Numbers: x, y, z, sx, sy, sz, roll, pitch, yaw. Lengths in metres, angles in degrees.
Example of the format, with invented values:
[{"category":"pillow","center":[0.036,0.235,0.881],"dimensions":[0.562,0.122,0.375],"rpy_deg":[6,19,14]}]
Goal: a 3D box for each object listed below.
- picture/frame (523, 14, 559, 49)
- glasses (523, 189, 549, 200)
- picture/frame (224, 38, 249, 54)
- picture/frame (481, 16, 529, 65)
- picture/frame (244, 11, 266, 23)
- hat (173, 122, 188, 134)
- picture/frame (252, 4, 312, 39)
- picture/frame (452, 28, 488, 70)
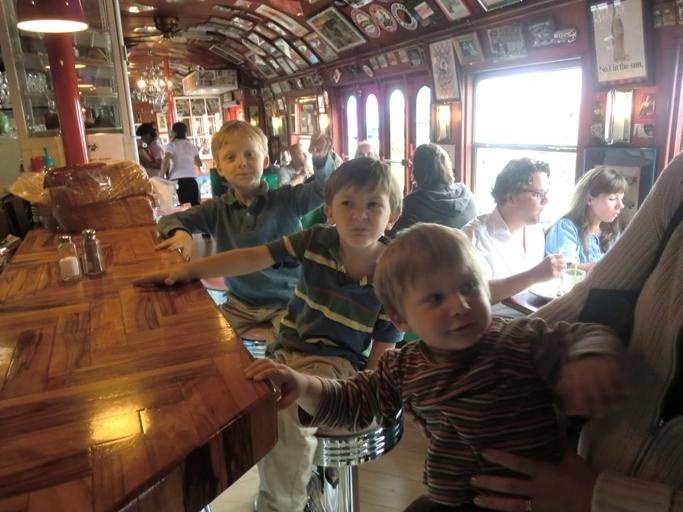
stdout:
[{"category":"picture/frame","center":[1.831,-2.024,4.429],"dimensions":[0.120,0.225,0.382],"rpy_deg":[-8,15,-12]},{"category":"glasses","center":[1.072,-0.329,2.608],"dimensions":[0.071,0.022,0.071],"rpy_deg":[-1,17,-36]},{"category":"picture/frame","center":[-2.478,-4.958,11.449],"dimensions":[0.341,0.085,0.322],"rpy_deg":[0,-2,33]},{"category":"picture/frame","center":[1.640,-2.135,4.776],"dimensions":[0.074,0.512,0.538],"rpy_deg":[-32,16,-23]},{"category":"picture/frame","center":[-1.580,-4.323,8.787],"dimensions":[0.265,0.064,0.247],"rpy_deg":[13,-14,-42]},{"category":"hat","center":[-2.347,-1.809,6.930],"dimensions":[0.180,0.207,0.204],"rpy_deg":[1,9,0]},{"category":"picture/frame","center":[-1.015,-3.988,8.251],"dimensions":[0.833,0.479,0.700],"rpy_deg":[-7,15,-8]},{"category":"picture/frame","center":[1.403,-2.236,5.204],"dimensions":[0.061,0.408,0.451],"rpy_deg":[-32,18,-14]}]
